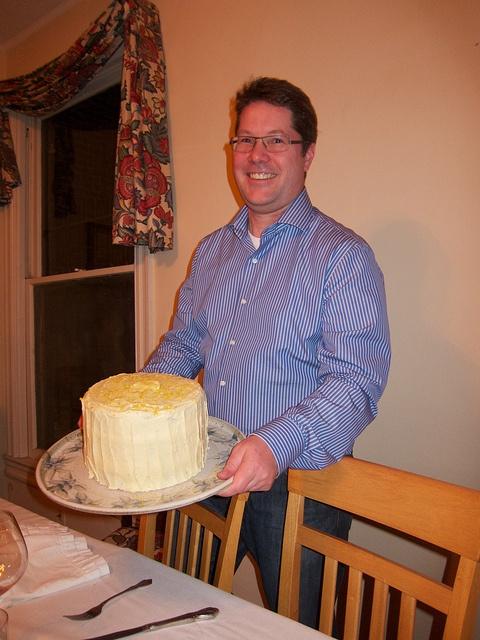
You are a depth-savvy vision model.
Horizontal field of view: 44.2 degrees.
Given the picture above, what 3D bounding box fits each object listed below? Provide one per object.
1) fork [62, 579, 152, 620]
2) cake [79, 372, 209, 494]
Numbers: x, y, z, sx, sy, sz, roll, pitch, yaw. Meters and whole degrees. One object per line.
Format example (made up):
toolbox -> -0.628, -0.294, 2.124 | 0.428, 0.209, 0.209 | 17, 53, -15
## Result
fork -> -0.225, 0.474, 0.992 | 0.125, 0.016, 0.018 | -12, 7, -41
cake -> -0.186, 0.229, 1.229 | 0.233, 0.127, 0.215 | 4, 15, 7
